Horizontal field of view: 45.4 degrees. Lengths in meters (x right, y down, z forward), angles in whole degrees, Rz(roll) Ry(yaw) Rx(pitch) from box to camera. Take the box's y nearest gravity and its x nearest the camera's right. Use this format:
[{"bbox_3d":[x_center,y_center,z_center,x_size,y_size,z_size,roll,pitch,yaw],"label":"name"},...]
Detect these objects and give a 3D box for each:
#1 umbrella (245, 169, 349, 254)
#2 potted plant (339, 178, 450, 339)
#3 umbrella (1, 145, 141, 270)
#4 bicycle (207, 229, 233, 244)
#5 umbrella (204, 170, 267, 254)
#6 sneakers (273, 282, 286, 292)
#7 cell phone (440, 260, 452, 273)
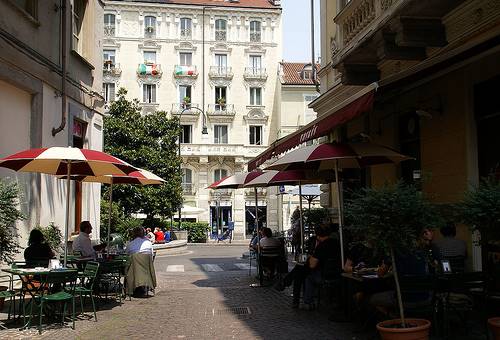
[{"bbox_3d":[1.847,1.765,25.187,4.697,3.154,4.824,1,-9,-19],"label":"umbrella"},{"bbox_3d":[2.801,1.637,11.669,1.577,2.805,0.603,-2,-9,10],"label":"potted plant"},{"bbox_3d":[-5.374,1.189,17.711,3.496,3.430,3.893,-5,-9,30],"label":"umbrella"},{"bbox_3d":[-2.196,5.008,44.828,1.831,1.225,0.943,1,-5,4],"label":"bicycle"},{"bbox_3d":[-0.271,1.057,19.148,1.796,1.566,1.792,-8,-8,-16],"label":"umbrella"},{"bbox_3d":[0.813,3.109,15.973,0.165,0.250,0.560,2,-2,-5],"label":"sneakers"},{"bbox_3d":[4.195,2.060,12.778,0.171,0.255,0.087,-4,-17,6],"label":"cell phone"}]
